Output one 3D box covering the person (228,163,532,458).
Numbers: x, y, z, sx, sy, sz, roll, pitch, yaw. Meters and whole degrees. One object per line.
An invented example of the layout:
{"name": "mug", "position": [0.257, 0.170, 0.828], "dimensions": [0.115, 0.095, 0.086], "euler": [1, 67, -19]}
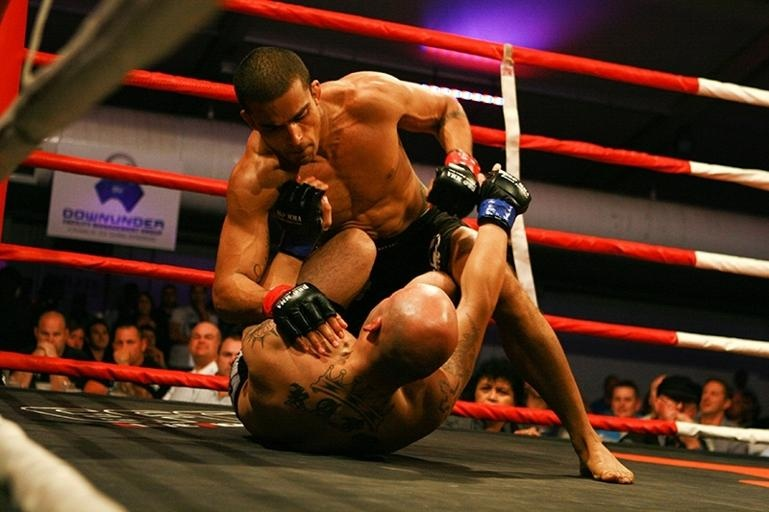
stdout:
{"name": "person", "position": [0.025, 0.299, 3.681], "dimensions": [1.063, 0.645, 1.365], "euler": [16, 31, 19]}
